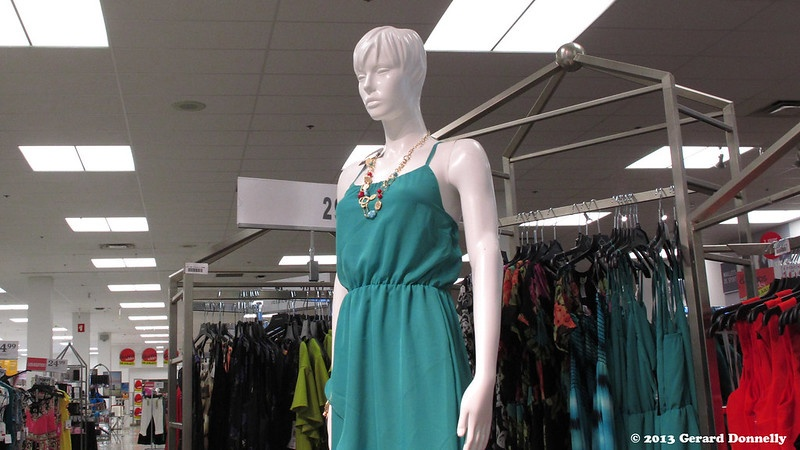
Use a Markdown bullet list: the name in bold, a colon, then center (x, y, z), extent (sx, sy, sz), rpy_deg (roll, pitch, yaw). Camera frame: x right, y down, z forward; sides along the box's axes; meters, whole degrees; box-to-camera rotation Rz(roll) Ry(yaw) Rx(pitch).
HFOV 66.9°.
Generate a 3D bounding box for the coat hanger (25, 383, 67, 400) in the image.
- **coat hanger**: center (-6.488, 3.029, 11.027), extent (0.307, 0.156, 0.401), rpy_deg (0, -6, -9)

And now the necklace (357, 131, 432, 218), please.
- **necklace**: center (-0.044, -0.313, 3.682), extent (0.349, 0.571, 0.161), rpy_deg (-3, -42, 51)

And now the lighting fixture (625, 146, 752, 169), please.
- **lighting fixture**: center (5.001, -1.100, 10.505), extent (1.782, 0.331, 1.079), rpy_deg (-1, -16, -6)
